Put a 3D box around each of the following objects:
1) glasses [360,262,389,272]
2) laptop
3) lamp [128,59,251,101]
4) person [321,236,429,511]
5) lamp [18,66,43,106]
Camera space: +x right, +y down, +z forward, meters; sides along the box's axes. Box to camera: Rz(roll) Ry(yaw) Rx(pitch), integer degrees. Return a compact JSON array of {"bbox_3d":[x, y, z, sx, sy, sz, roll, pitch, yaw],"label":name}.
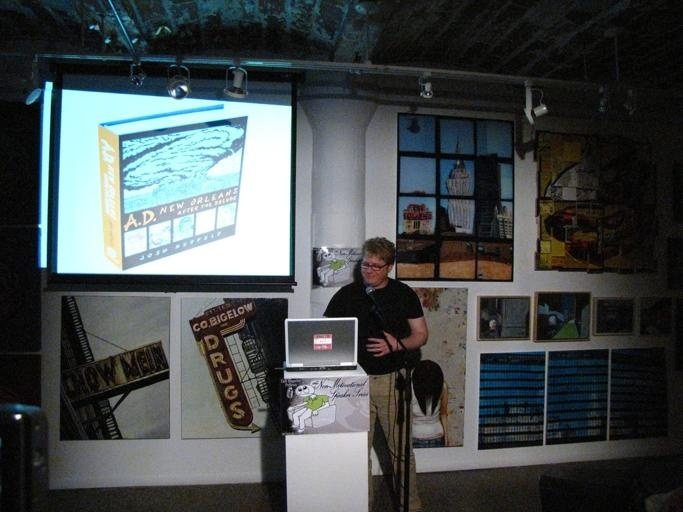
[{"bbox_3d":[0.255,0.070,4.792,0.194,0.062,0.065,-3,1,1],"label":"glasses"},{"bbox_3d":[-0.134,0.613,4.482,0.489,0.353,0.364,1,3,-8],"label":"laptop"},{"bbox_3d":[-1.226,-1.422,4.993,0.941,0.292,0.354,-3,2,-6],"label":"lamp"},{"bbox_3d":[0.305,0.924,4.833,0.773,1.569,0.861,-3,2,20],"label":"person"},{"bbox_3d":[-2.399,-1.337,4.957,0.115,0.309,0.078,16,-5,14],"label":"lamp"}]
